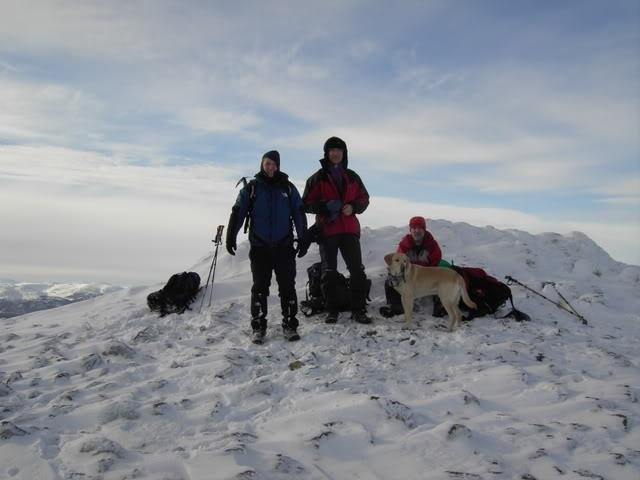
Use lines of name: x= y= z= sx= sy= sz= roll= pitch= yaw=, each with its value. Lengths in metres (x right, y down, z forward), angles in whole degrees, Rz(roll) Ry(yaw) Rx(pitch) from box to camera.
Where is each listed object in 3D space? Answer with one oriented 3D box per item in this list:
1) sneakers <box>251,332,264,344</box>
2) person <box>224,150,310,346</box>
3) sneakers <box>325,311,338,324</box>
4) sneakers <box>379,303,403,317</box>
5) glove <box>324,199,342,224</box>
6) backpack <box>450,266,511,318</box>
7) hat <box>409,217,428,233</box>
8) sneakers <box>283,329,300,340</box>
sneakers: x=-0.890 y=1.392 z=7.803 sx=0.173 sy=0.124 sz=0.269 roll=-3 pitch=11 yaw=-6
person: x=-0.725 y=0.082 z=7.904 sx=1.233 sy=2.697 sz=0.845 roll=-5 pitch=13 yaw=-15
sneakers: x=0.173 y=1.209 z=8.471 sx=0.185 sy=0.134 sz=0.218 roll=-1 pitch=11 yaw=3
sneakers: x=1.157 y=1.148 z=8.864 sx=0.290 sy=0.127 sz=0.339 roll=0 pitch=-2 yaw=12
glove: x=0.206 y=-0.460 z=8.261 sx=0.249 sy=0.285 sz=0.115 roll=5 pitch=3 yaw=0
backpack: x=2.566 y=0.837 z=8.628 sx=0.647 sy=0.345 sz=0.961 roll=8 pitch=3 yaw=-19
hat: x=1.606 y=-0.279 z=8.954 sx=0.252 sy=0.279 sz=0.587 roll=0 pitch=11 yaw=9
sneakers: x=-0.401 y=1.365 z=7.849 sx=0.139 sy=0.080 sz=0.248 roll=-15 pitch=11 yaw=-32
